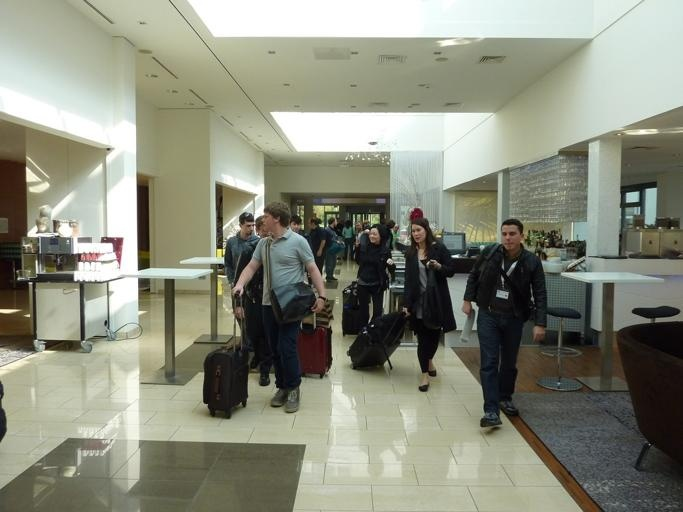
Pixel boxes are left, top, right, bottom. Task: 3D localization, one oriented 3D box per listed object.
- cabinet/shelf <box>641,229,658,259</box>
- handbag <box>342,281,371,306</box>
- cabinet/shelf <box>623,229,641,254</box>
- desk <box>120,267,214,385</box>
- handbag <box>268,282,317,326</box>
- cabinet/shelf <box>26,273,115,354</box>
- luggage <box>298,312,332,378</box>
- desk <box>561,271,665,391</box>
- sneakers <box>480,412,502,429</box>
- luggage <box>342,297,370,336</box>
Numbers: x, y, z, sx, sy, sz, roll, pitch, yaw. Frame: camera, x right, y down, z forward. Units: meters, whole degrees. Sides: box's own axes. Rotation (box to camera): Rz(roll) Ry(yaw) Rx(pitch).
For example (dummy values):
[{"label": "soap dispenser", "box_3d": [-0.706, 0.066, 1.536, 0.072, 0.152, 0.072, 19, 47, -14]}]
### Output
[{"label": "cabinet/shelf", "box_3d": [6.446, -0.297, 11.018, 0.356, 0.486, 0.342, 1, 9, 9]}, {"label": "handbag", "box_3d": [0.241, 0.593, 8.018, 0.418, 0.460, 0.339, 5, 5, 35]}, {"label": "cabinet/shelf", "box_3d": [6.286, -0.329, 11.527, 0.159, 0.553, 0.754, 1, 9, 9]}, {"label": "desk", "box_3d": [-2.112, 0.883, 6.503, 1.199, 1.277, 1.217, -1, -1, 6]}, {"label": "handbag", "box_3d": [-0.488, 0.481, 5.397, 0.471, 0.406, 0.223, -2, 9, -13]}, {"label": "cabinet/shelf", "box_3d": [-3.918, 0.750, 7.913, 1.129, 0.913, 1.245, 1, 2, -4]}, {"label": "luggage", "box_3d": [-0.341, 1.162, 6.646, 0.414, 0.648, 0.399, -2, 5, 5]}, {"label": "desk", "box_3d": [3.284, 0.899, 6.406, 1.205, 1.446, 1.003, -1, 10, -3]}, {"label": "sneakers", "box_3d": [1.457, 1.617, 5.206, 0.113, 0.142, 0.339, -1, -10, 14]}, {"label": "luggage", "box_3d": [0.214, 0.984, 8.352, 0.362, 0.510, 0.469, -2, 4, 2]}]
